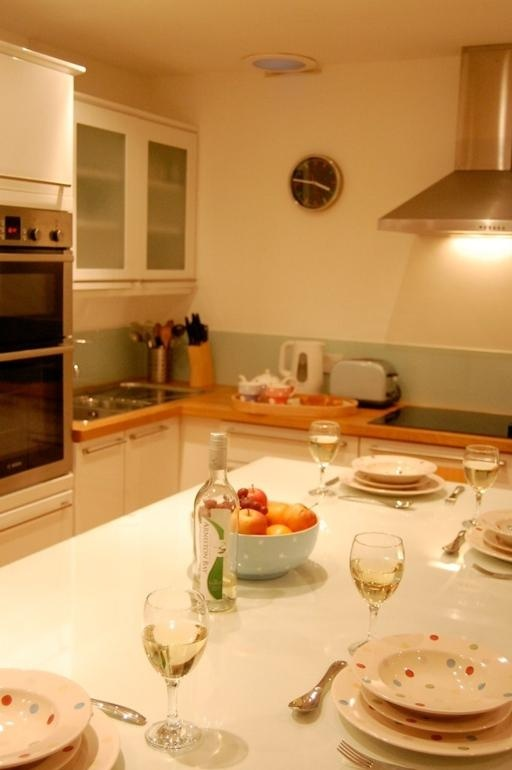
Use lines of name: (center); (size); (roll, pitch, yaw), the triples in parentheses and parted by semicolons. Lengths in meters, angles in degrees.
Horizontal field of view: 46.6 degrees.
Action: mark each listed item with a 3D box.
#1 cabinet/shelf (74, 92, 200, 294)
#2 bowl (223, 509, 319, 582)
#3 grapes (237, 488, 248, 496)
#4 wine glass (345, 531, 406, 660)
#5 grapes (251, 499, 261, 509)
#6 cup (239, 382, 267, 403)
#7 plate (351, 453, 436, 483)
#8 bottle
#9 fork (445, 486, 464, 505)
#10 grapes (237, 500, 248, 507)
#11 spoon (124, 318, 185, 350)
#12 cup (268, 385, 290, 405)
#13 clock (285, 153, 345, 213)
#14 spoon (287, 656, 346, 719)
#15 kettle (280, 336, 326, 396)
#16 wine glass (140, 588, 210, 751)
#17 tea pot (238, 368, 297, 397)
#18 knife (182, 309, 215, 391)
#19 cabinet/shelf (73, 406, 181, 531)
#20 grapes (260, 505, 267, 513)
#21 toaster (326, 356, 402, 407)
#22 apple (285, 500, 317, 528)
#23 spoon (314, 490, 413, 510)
cabinet/shelf: (-0.749, -0.977, 3.210); (0.347, 0.880, 0.960); (11, 15, 31)
bowl: (0.021, 0.291, 1.067); (0.182, 0.094, 0.180); (0, 0, 0)
grapes: (-0.025, 0.197, 1.104); (0.017, 0.017, 0.014); (16, -9, 6)
wine glass: (0.161, 0.280, 0.792); (0.069, 0.164, 0.065); (1, 7, -4)
grapes: (0.001, 0.213, 1.063); (0.007, 0.012, 0.012); (-15, -22, 23)
cup: (-0.019, 0.037, 3.108); (0.116, 0.097, 0.108); (-2, -1, 0)
plate: (0.398, 0.237, 1.724); (0.119, 0.025, 0.118); (8, 13, 30)
bottle: (-0.059, 0.208, 0.874); (0.065, 0.283, 0.124); (-1, 2, -3)
fork: (0.539, 0.295, 1.609); (0.028, 0.032, 0.184); (3, 4, 23)
grapes: (-0.023, 0.211, 1.055); (0.013, 0.010, 0.013); (-1, -2, 11)
spoon: (-0.612, -0.295, 3.649); (0.229, 0.100, 0.205); (-21, -4, 36)
cup: (0.119, 0.050, 3.042); (0.098, 0.085, 0.090); (0, 1, 0)
clock: (0.333, -1.130, 3.328); (0.310, 0.294, 0.059); (0, 2, 30)
spoon: (0.069, 0.351, 0.682); (0.025, 0.022, 0.123); (-1, 6, 20)
kettle: (0.270, -0.109, 3.287); (0.338, 0.346, 0.208); (8, 10, 42)
wine glass: (-0.086, 0.281, 0.624); (0.063, 0.150, 0.180); (-1, 2, -11)
tea pot: (0.061, -0.015, 3.103); (0.229, 0.101, 0.148); (1, 0, -27)
knife: (-0.385, -0.217, 3.711); (0.231, 0.470, 0.235); (0, 2, 25)
cabinet/shelf: (-0.578, 0.484, 2.971); (0.537, 0.484, 0.279); (-19, -29, 18)
grapes: (0.014, 0.227, 1.089); (0.012, 0.012, 0.012); (-1, 4, -4)
toaster: (0.573, -0.027, 3.199); (0.335, 0.245, 0.178); (5, 10, 35)
apple: (0.081, 0.234, 1.085); (0.041, 0.049, 0.041); (33, 0, -45)
spoon: (0.281, 0.296, 1.532); (0.155, 0.019, 0.023); (5, 19, 24)
